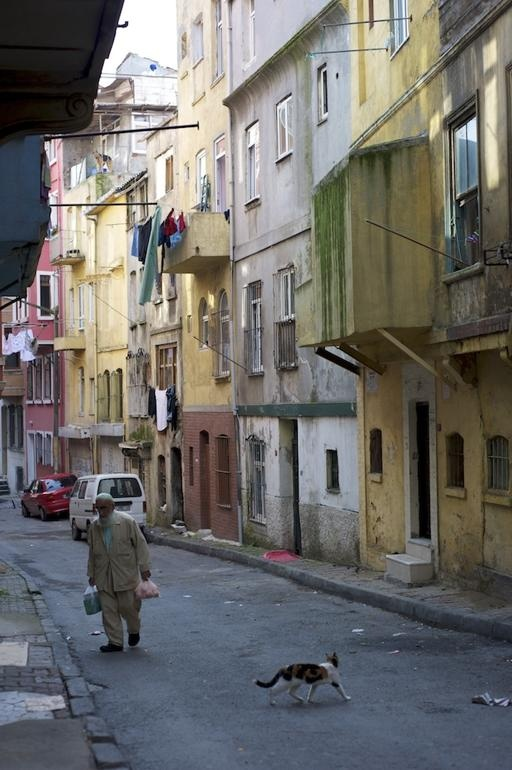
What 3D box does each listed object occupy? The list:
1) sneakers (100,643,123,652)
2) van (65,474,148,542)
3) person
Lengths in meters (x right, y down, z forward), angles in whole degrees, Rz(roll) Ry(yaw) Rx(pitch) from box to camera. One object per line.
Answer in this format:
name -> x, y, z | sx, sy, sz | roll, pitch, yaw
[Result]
sneakers -> -1.352, 2.422, 11.602 | 0.210, 0.083, 0.158 | -2, -6, -8
van -> -3.354, 2.642, 27.771 | 1.215, 2.017, 2.570 | 0, -2, -16
person -> -1.326, 1.746, 11.890 | 0.376, 1.557, 0.465 | -2, 12, -8
